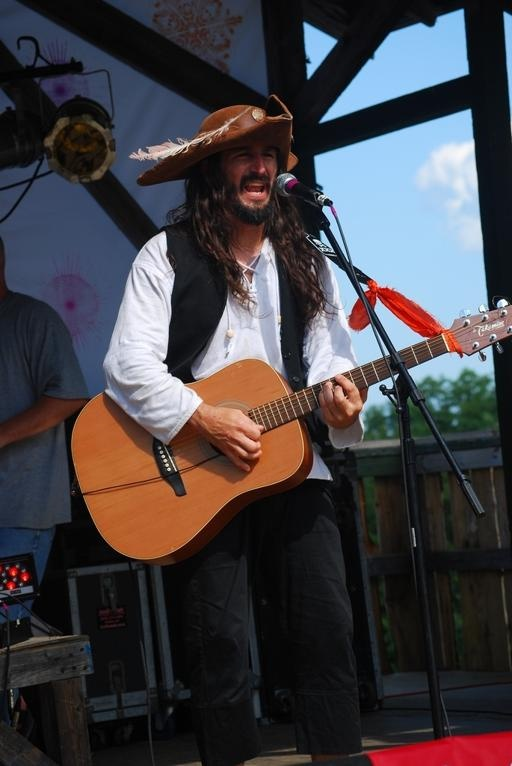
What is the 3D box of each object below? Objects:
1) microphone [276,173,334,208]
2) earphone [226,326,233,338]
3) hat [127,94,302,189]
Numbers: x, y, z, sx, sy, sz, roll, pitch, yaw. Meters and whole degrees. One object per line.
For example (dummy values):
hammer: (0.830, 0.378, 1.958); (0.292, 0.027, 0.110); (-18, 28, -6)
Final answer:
microphone: (0.121, -0.551, 2.405); (0.072, 0.062, 0.239); (28, -2, -40)
earphone: (-0.078, -0.143, 2.486); (0.020, 0.023, 0.007); (-4, 0, 19)
hat: (-0.111, -0.751, 2.691); (0.496, 0.159, 0.414); (-10, 1, 6)
